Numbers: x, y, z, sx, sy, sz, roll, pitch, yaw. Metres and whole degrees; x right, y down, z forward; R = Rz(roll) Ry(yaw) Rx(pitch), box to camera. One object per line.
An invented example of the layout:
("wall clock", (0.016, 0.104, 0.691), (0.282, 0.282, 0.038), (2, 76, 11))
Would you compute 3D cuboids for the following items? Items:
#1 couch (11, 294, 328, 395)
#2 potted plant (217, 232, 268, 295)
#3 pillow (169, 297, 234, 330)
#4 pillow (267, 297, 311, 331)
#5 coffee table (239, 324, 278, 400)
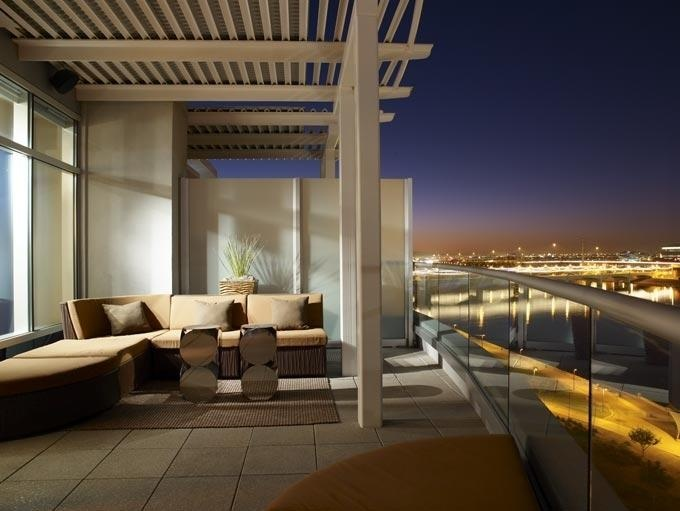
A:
("couch", (-1.694, 1.123, 5.322), (3.548, 1.190, 2.050), (0, -2, -4))
("potted plant", (-1.462, 0.162, 6.195), (0.630, 0.755, 0.620), (-2, -5, 27))
("pillow", (-1.677, 0.727, 5.449), (0.744, 0.404, 0.464), (7, -1, 14))
("pillow", (-0.610, 0.708, 5.277), (0.346, 0.335, 0.128), (0, -32, -2))
("coffee table", (-0.801, 1.041, 4.391), (0.379, 0.659, 0.432), (4, 0, -3))
